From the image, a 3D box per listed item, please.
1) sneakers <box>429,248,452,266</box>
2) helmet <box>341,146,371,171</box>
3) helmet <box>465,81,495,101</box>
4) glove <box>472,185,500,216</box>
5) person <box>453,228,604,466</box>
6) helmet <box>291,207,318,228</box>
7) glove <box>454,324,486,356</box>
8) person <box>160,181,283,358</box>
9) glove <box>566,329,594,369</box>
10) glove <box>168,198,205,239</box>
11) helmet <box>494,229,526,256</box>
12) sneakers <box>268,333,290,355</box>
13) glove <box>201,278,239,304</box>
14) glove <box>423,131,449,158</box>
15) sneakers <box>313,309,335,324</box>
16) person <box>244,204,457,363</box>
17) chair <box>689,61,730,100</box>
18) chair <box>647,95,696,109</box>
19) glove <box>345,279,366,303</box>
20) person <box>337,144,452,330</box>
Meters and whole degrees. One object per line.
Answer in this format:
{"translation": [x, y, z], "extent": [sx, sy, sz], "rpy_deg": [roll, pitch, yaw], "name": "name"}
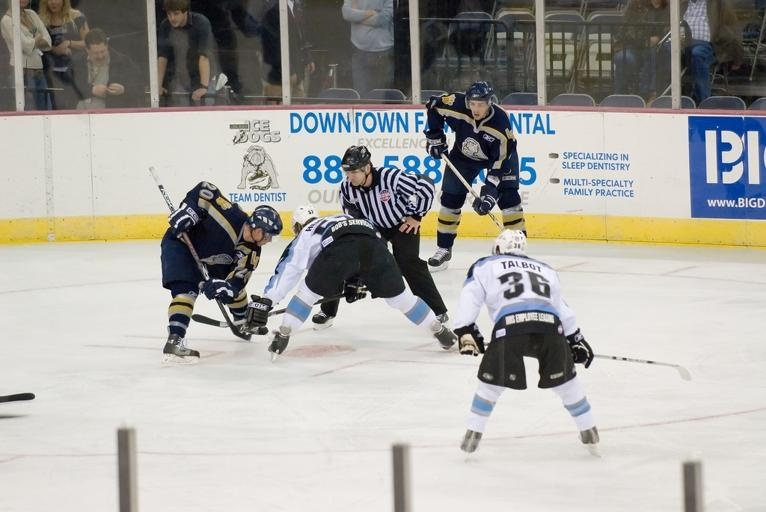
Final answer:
{"translation": [0.562, 0.010, 10.321], "extent": [0.106, 0.118, 0.313], "rpy_deg": [20, 20, 22], "name": "sneakers"}
{"translation": [-0.227, -0.760, 8.239], "extent": [0.176, 0.204, 0.232], "rpy_deg": [-4, 6, 45], "name": "helmet"}
{"translation": [0.856, -1.488, 9.509], "extent": [0.203, 0.216, 0.229], "rpy_deg": [2, 1, 19], "name": "helmet"}
{"translation": [0.962, -0.504, 9.731], "extent": [0.129, 0.179, 0.310], "rpy_deg": [5, 44, 36], "name": "glove"}
{"translation": [0.865, 0.604, 6.469], "extent": [0.857, 1.191, 0.413], "rpy_deg": [-1, 7, 3], "name": "person"}
{"translation": [-0.602, -0.305, 8.340], "extent": [0.154, 0.164, 0.184], "rpy_deg": [-10, 16, -30], "name": "helmet"}
{"translation": [0.548, 0.514, 6.587], "extent": [0.174, 0.200, 0.088], "rpy_deg": [-6, 14, 12], "name": "glove"}
{"translation": [-1.294, 0.104, 8.144], "extent": [0.933, 1.225, 1.468], "rpy_deg": [13, 9, 7], "name": "person"}
{"translation": [1.230, 0.590, 6.628], "extent": [0.199, 0.241, 0.084], "rpy_deg": [-17, 8, 4], "name": "glove"}
{"translation": [-1.495, -0.277, 7.898], "extent": [0.245, 0.238, 0.097], "rpy_deg": [-39, -26, 6], "name": "glove"}
{"translation": [0.799, -0.084, 6.722], "extent": [0.157, 0.183, 0.186], "rpy_deg": [1, 8, -12], "name": "helmet"}
{"translation": [-0.773, 0.652, 7.928], "extent": [0.120, 0.180, 0.184], "rpy_deg": [27, 6, -4], "name": "sneakers"}
{"translation": [-1.235, 0.264, 8.017], "extent": [0.208, 0.085, 0.201], "rpy_deg": [12, 0, -9], "name": "glove"}
{"translation": [0.503, -1.059, 10.086], "extent": [0.210, 0.260, 0.271], "rpy_deg": [-5, 9, 2], "name": "glove"}
{"translation": [-0.496, 0.517, 8.682], "extent": [0.077, 0.083, 0.211], "rpy_deg": [3, 0, 38], "name": "sneakers"}
{"translation": [-0.175, 0.209, 7.984], "extent": [1.578, 0.679, 1.876], "rpy_deg": [-2, 18, 12], "name": "person"}
{"translation": [3.475, -1.850, 11.327], "extent": [0.392, 0.530, 0.386], "rpy_deg": [9, 47, 20], "name": "chair"}
{"translation": [3.092, -1.634, 11.309], "extent": [0.297, 0.190, 0.280], "rpy_deg": [5, 8, 20], "name": "chair"}
{"translation": [-0.202, 0.273, 8.265], "extent": [0.195, 0.196, 0.156], "rpy_deg": [-1, -1, 16], "name": "glove"}
{"translation": [0.046, -0.128, 8.521], "extent": [0.823, 1.488, 0.759], "rpy_deg": [-9, 7, 10], "name": "person"}
